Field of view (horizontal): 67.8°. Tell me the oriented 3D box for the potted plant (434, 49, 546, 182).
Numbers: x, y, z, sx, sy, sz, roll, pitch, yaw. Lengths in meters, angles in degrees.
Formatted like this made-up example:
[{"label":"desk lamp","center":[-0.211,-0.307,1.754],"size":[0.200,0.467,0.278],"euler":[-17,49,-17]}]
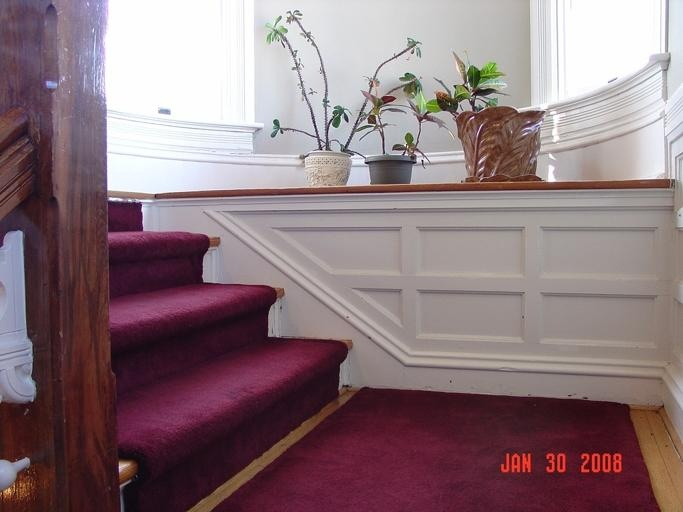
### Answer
[{"label":"potted plant","center":[0.617,-0.569,2.215],"size":[0.509,0.538,0.420],"euler":[2,3,26]}]
